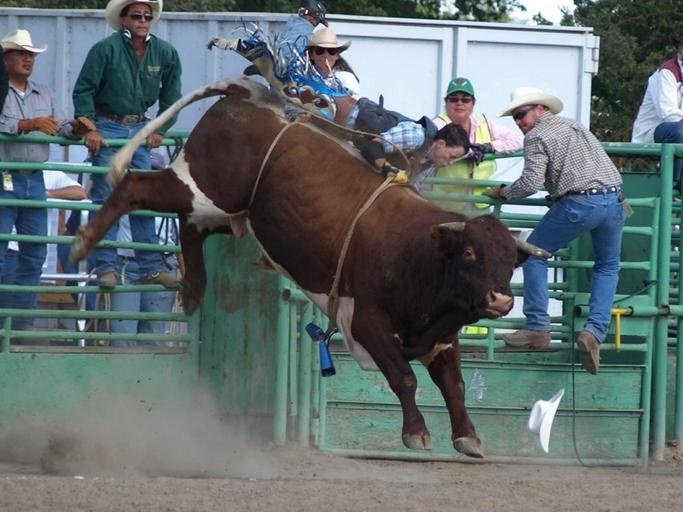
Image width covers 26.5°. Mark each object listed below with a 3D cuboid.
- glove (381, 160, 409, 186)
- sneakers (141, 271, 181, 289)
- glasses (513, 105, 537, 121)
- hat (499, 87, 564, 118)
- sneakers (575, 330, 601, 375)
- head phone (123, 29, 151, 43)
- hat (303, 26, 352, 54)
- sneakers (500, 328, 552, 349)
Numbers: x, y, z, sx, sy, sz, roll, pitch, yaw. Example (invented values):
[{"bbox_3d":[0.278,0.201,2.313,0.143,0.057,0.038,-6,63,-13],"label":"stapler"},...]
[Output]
[{"bbox_3d":[0.427,-0.689,12.023,0.244,0.097,0.145,38,5,32],"label":"glove"},{"bbox_3d":[-1.655,0.224,13.367,0.430,0.194,0.125,-9,44,35],"label":"sneakers"},{"bbox_3d":[1.702,-1.321,13.422,0.151,0.047,0.142,-33,-3,-32],"label":"glasses"},{"bbox_3d":[1.800,-1.446,13.417,0.397,0.132,0.327,-4,-14,-25],"label":"hat"},{"bbox_3d":[2.283,0.885,13.137,0.157,0.442,0.196,7,43,47],"label":"sneakers"},{"bbox_3d":[-1.918,-2.064,13.641,0.153,0.061,0.170,6,-8,-27],"label":"head phone"},{"bbox_3d":[-0.138,-1.904,12.875,0.309,0.107,0.309,0,-9,-3],"label":"hat"},{"bbox_3d":[1.693,0.748,13.251,0.480,0.230,0.164,3,5,5],"label":"sneakers"}]
